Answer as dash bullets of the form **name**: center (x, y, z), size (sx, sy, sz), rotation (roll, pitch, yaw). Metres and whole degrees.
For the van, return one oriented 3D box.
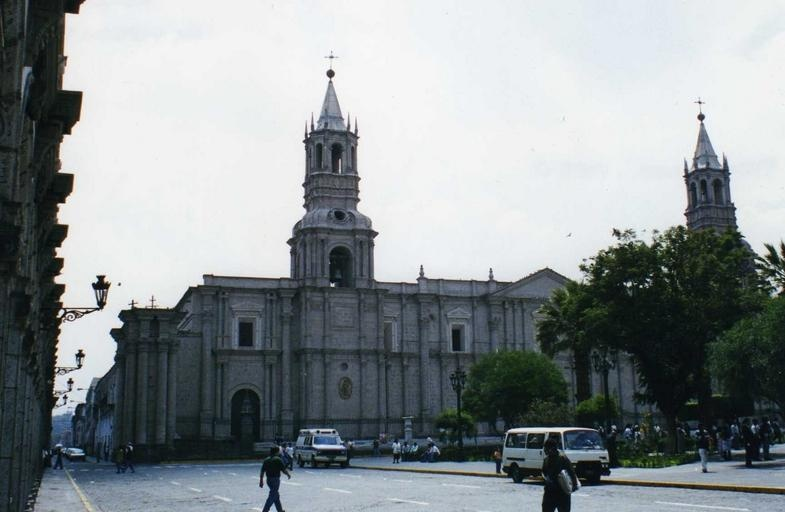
- **van**: center (8.209, 10.485, 69.652), size (3.155, 3.073, 7.320), rotation (3, -7, -23)

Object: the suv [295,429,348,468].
- **suv**: center (-4.595, 12.415, 87.270), size (2.322, 2.763, 3.806), rotation (5, -17, -24)

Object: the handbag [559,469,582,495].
- **handbag**: center (7.449, 9.641, 57.506), size (0.588, 1.004, 1.046), rotation (-11, -18, 27)

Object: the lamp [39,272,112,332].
- **lamp**: center (-14.861, 2.177, 65.659), size (2.467, 2.368, 0.874), rotation (1, -7, -1)
